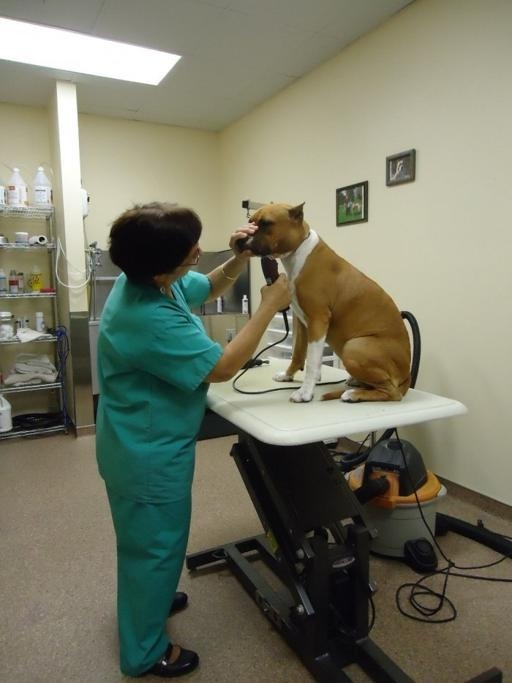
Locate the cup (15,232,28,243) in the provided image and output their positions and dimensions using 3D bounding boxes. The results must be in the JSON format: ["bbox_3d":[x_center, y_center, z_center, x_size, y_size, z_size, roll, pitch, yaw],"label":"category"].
[{"bbox_3d":[-1.510,-0.660,3.492,0.094,0.083,0.092,0,1,0],"label":"cup"}]

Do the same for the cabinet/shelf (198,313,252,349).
[{"bbox_3d":[-0.207,-0.118,3.992,0.247,0.333,0.354,0,-1,-31],"label":"cabinet/shelf"}]

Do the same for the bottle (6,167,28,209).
[{"bbox_3d":[-1.488,-0.949,3.348,0.112,0.239,0.095,-6,11,-23],"label":"bottle"}]

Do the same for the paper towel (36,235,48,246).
[{"bbox_3d":[-1.372,-0.642,3.467,0.072,0.063,0.067,6,30,42],"label":"paper towel"}]

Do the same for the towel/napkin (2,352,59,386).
[{"bbox_3d":[-1.492,0.188,3.583,0.324,0.171,0.262,-6,11,-22],"label":"towel/napkin"}]

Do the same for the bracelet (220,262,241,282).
[{"bbox_3d":[-0.085,-0.212,1.700,0.058,0.045,0.061,-8,49,-27],"label":"bracelet"}]

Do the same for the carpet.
[{"bbox_3d":[-0.386,0.428,3.421,0.455,0.303,0.481,5,-6,-34],"label":"carpet"}]

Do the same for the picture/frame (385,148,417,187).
[{"bbox_3d":[0.684,-0.817,2.533,0.024,0.205,0.220,-1,1,-25],"label":"picture/frame"}]

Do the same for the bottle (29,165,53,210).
[{"bbox_3d":[-1.369,-0.970,3.450,0.115,0.257,0.221,-5,11,-19],"label":"bottle"}]

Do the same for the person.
[{"bbox_3d":[-0.184,0.285,1.405,0.462,1.249,0.227,-3,11,-8],"label":"person"}]

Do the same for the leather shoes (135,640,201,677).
[{"bbox_3d":[-0.233,0.850,1.490,0.184,0.075,0.069,-3,2,-22],"label":"leather shoes"}]

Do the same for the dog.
[{"bbox_3d":[0.203,-0.123,1.610,0.527,0.549,0.323,5,7,0],"label":"dog"}]
